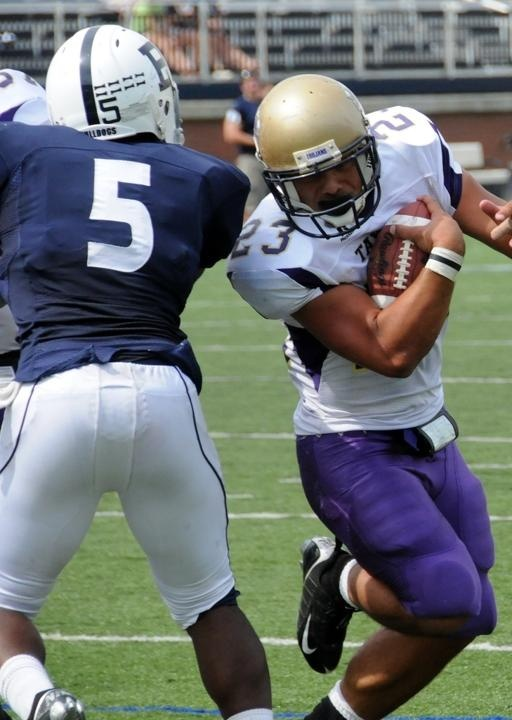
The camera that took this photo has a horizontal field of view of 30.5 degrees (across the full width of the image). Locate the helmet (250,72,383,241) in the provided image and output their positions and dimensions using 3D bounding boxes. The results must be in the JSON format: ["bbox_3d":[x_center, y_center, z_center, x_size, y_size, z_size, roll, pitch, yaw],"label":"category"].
[{"bbox_3d":[0.134,-0.496,2.137,0.290,0.300,0.359,-16,41,5],"label":"helmet"}]

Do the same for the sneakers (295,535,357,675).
[{"bbox_3d":[0.195,0.606,2.401,0.173,0.367,0.136,8,11,42],"label":"sneakers"}]

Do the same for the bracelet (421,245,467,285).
[{"bbox_3d":[0.389,-0.204,1.952,0.079,0.074,0.056,19,88,14],"label":"bracelet"}]

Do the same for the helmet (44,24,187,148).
[{"bbox_3d":[-0.326,-0.605,2.083,0.295,0.284,0.377,1,22,13],"label":"helmet"}]
